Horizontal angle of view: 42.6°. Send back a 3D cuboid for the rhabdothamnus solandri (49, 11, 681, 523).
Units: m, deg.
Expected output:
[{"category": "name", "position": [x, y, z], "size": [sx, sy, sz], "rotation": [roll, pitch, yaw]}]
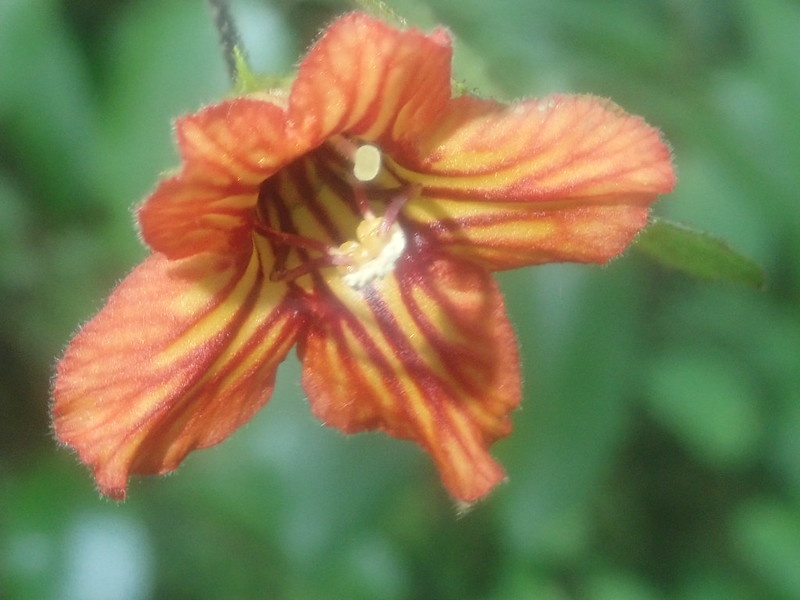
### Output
[{"category": "rhabdothamnus solandri", "position": [-0.090, -0.035, 2.231], "size": [1.166, 1.009, 0.565], "rotation": [10, -14, -18]}]
